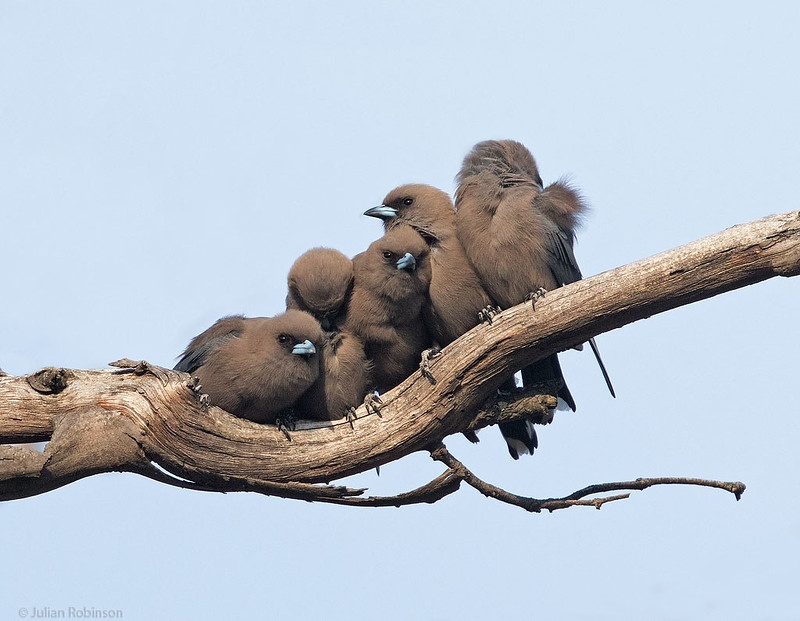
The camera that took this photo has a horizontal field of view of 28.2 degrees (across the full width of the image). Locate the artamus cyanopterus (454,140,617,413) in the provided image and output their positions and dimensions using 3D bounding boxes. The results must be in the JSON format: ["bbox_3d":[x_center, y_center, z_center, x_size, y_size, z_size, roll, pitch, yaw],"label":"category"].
[{"bbox_3d":[0.998,-0.217,13.546,1.447,2.088,1.075,23,-37,-24],"label":"artamus cyanopterus"}]

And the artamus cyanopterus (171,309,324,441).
[{"bbox_3d":[-1.241,0.589,13.502,0.922,0.706,0.683,15,-16,16],"label":"artamus cyanopterus"}]
